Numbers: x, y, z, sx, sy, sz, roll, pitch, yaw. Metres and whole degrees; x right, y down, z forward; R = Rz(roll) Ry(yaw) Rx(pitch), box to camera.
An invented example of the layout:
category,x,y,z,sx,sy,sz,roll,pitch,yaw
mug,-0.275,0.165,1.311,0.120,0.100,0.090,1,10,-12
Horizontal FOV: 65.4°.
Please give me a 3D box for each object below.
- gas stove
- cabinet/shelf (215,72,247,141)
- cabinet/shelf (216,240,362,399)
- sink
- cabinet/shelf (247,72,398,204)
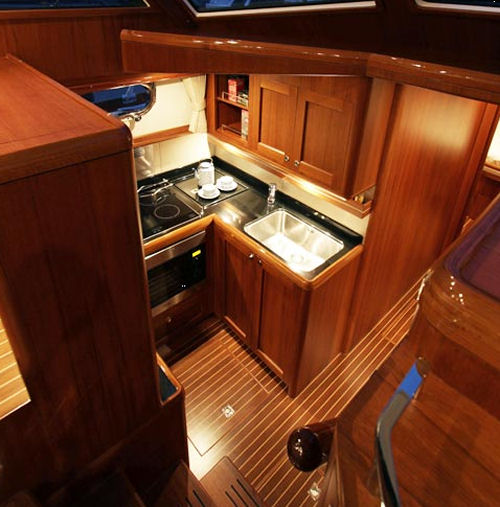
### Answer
category,x,y,z,sx,sy,sz,roll,pitch,yaw
gas stove,-0.630,-0.345,2.866,0.456,0.096,0.466,-28,53,-23
cabinet/shelf,-0.064,-1.118,2.944,0.330,0.398,0.276,30,44,34
cabinet/shelf,0.231,0.249,2.909,0.894,1.215,0.607,34,53,29
sink,0.288,-0.092,2.913,0.443,0.253,0.629,-32,53,-30
cabinet/shelf,0.352,-0.812,2.293,0.727,0.669,0.271,30,46,30
